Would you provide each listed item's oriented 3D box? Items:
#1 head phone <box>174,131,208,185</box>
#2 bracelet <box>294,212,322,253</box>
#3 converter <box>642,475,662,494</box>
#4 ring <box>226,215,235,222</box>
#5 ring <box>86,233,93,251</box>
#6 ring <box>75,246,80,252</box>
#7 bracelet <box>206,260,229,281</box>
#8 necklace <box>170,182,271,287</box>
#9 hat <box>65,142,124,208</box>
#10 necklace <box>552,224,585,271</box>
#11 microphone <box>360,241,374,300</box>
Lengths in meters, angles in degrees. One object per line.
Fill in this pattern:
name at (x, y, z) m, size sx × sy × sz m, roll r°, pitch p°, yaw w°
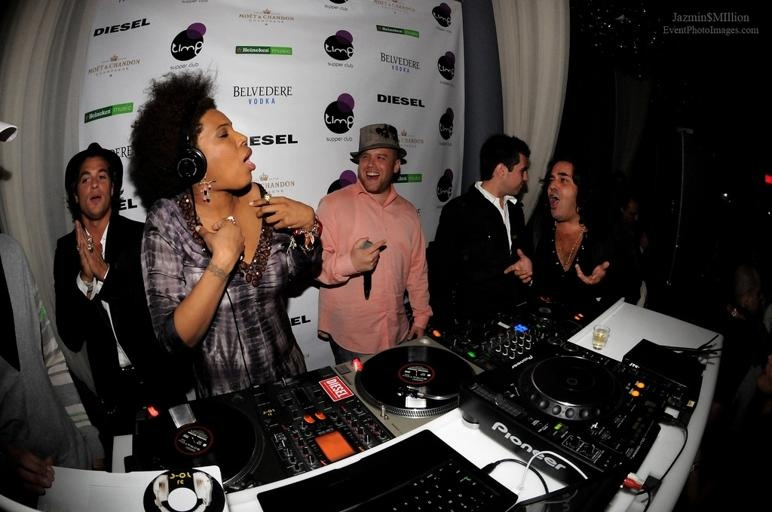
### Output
head phone at (-1.248, -0.628, 2.993) m, size 0.168 × 0.352 × 0.280 m, roll -1°, pitch -5°, yaw -25°
bracelet at (-0.484, -0.154, 3.033) m, size 0.117 × 0.228 × 0.175 m, roll 14°, pitch 19°, yaw 42°
converter at (1.136, 0.973, 2.050) m, size 0.110 × 0.045 × 0.054 m, roll -14°, pitch 20°, yaw -41°
ring at (-0.943, -0.225, 2.889) m, size 0.041 × 0.028 × 0.053 m, roll 29°, pitch 2°, yaw -36°
ring at (-1.940, -0.093, 3.128) m, size 0.039 × 0.106 × 0.028 m, roll -6°, pitch 14°, yaw -30°
ring at (-2.011, -0.048, 3.123) m, size 0.023 × 0.024 × 0.006 m, roll -7°, pitch -1°, yaw 4°
bracelet at (-0.941, 0.084, 2.690) m, size 0.100 × 0.028 × 0.096 m, roll 26°, pitch -12°, yaw 28°
necklace at (-1.008, -0.114, 3.017) m, size 0.453 × 0.613 × 0.160 m, roll -15°, pitch -8°, yaw -22°
hat at (-1.901, -0.515, 3.108) m, size 0.329 × 0.422 × 0.179 m, roll -3°, pitch 11°, yaw -21°
necklace at (1.442, -0.074, 3.756) m, size 0.207 × 0.356 × 0.080 m, roll 1°, pitch -12°, yaw 18°
microphone at (-0.129, 0.112, 3.537) m, size 0.084 × 0.456 × 0.164 m, roll -1°, pitch 15°, yaw -3°
